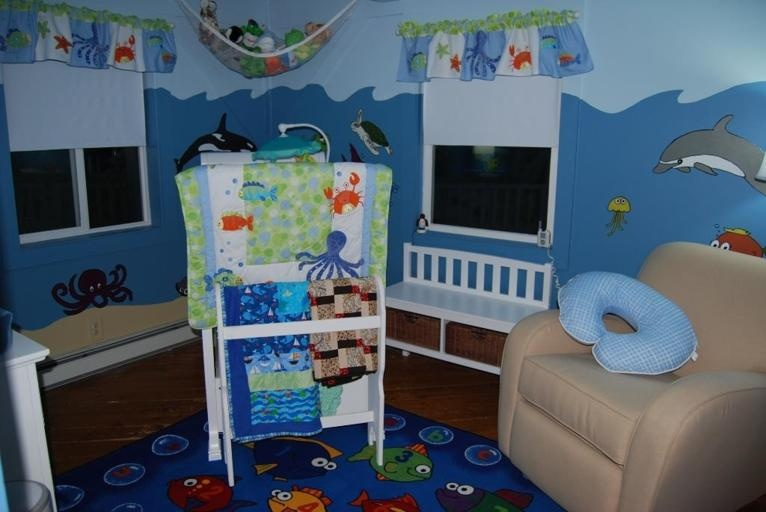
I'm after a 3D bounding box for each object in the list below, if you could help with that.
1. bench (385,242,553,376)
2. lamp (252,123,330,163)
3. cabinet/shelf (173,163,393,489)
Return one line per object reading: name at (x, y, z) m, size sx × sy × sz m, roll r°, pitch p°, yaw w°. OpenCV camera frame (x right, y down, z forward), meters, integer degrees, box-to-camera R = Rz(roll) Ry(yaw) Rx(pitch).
bench at (0.663, 0.414, 4.421) m, size 0.916 × 0.593 × 0.328 m, roll 9°, pitch 17°, yaw 28°
lamp at (-0.626, -0.749, 4.029) m, size 0.507 × 0.300 × 0.463 m, roll -7°, pitch -1°, yaw 1°
cabinet/shelf at (-0.589, 0.321, 3.602) m, size 1.296 × 1.657 × 0.930 m, roll -2°, pitch 14°, yaw -25°
